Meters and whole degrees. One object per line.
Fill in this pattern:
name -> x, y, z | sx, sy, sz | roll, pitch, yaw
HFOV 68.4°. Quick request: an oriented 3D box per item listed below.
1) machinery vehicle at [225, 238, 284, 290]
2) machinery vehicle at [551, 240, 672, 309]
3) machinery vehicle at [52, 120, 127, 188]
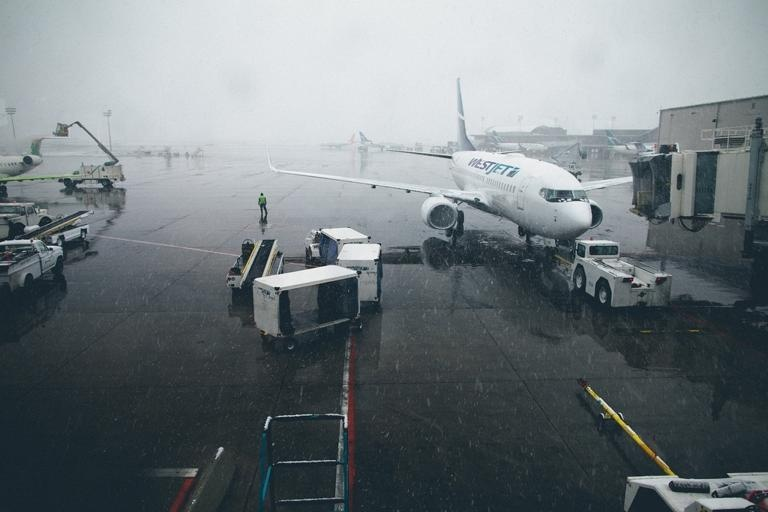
machinery vehicle -> -6.984, 0.734, 31.395 | 2.481, 1.845, 6.441 | 13, 11, -9
machinery vehicle -> 11.686, 0.783, 28.913 | 3.025, 2.548, 5.263 | -1, 14, -9
machinery vehicle -> -34.782, -12.091, 66.828 | 7.411, 7.561, 2.826 | -2, 16, -7
